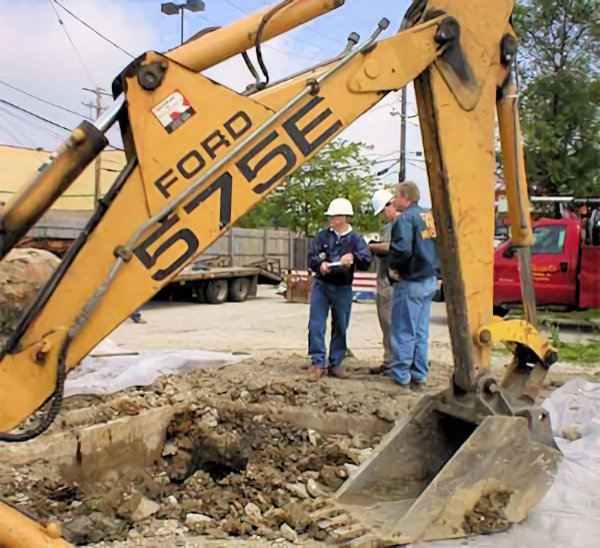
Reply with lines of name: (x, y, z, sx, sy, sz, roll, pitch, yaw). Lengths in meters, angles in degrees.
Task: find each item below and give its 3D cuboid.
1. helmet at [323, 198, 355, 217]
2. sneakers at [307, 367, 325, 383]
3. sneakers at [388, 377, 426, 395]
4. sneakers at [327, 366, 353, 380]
helmet: (0.410, -0.612, 6.270, 0.218, 0.173, 0.283, 7, 5, 35)
sneakers: (0.130, 0.940, 5.968, 0.076, 0.157, 0.217, -6, -24, 15)
sneakers: (0.930, 0.972, 5.519, 0.393, 0.189, 0.142, 5, -5, -23)
sneakers: (0.382, 0.949, 6.158, 0.231, 0.101, 0.096, -6, -4, 42)
